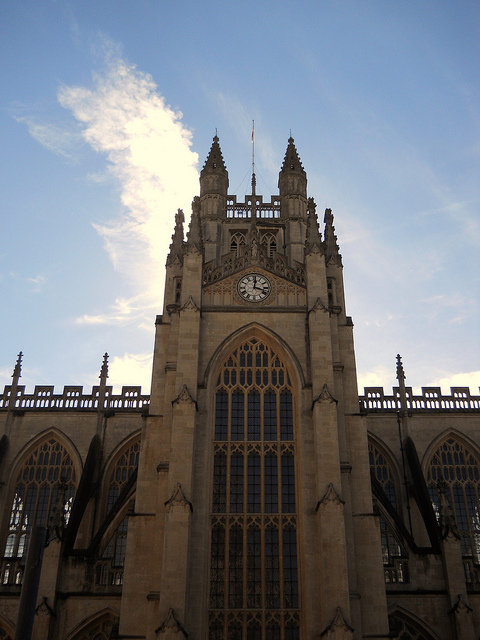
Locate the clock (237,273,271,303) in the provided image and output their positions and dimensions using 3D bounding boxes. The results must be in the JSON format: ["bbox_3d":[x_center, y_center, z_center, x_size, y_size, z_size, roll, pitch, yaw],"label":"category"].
[{"bbox_3d":[0.660,-1.496,26.570,1.212,1.210,0.107,-33,-28,-37],"label":"clock"}]
